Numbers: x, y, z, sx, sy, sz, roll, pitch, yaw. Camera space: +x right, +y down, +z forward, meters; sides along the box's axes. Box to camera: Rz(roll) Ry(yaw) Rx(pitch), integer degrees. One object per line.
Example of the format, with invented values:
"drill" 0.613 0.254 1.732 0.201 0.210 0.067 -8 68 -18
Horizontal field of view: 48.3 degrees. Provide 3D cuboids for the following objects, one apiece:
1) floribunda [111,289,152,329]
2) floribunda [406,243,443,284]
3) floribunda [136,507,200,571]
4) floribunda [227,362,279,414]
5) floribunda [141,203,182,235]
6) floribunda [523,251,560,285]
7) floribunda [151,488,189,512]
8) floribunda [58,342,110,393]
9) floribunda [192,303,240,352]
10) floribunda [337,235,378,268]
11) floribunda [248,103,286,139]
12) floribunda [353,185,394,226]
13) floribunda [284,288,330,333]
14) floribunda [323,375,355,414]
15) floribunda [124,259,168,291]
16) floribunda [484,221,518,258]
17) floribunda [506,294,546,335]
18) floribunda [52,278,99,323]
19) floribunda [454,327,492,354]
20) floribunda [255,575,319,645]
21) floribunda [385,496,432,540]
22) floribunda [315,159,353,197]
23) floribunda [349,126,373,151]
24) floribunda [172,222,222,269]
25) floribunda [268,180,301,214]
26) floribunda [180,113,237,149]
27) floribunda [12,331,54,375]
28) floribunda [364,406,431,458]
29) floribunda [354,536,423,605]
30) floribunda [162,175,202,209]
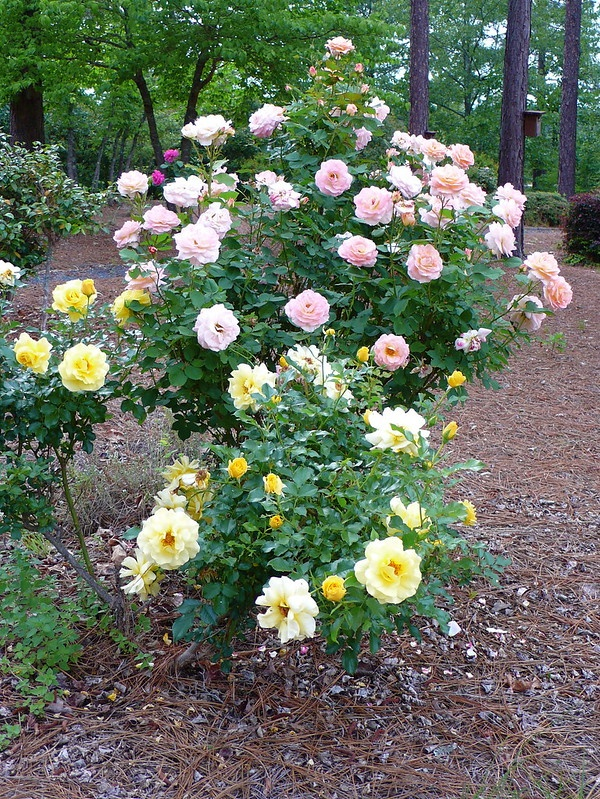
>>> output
"floribunda" -0.559 -0.298 2.169 0.191 0.118 0.077 11 17 43
"floribunda" 0.401 -0.436 2.137 0.130 0.114 0.057 -6 -10 6
"floribunda" -0.337 0.364 1.708 0.154 0.185 0.117 -3 13 -9
"floribunda" -0.114 -0.030 1.787 0.135 0.130 0.159 -4 13 -14
"floribunda" -0.413 -0.551 2.001 0.096 0.094 0.045 -42 -8 -17
"floribunda" 0.818 -0.453 2.286 0.111 0.102 0.213 3 12 17
"floribunda" -0.381 0.299 1.997 0.087 0.083 0.044 33 2 34
"floribunda" -0.595 -0.088 1.859 0.140 0.127 0.069 1 -4 -29
"floribunda" -0.231 -0.198 1.897 0.118 0.143 0.175 0 12 2
"floribunda" 0.185 -0.483 2.167 0.114 0.096 0.145 1 12 7
"floribunda" -0.123 -1.097 2.610 0.140 0.132 0.238 -1 12 -1
"floribunda" 0.243 -0.639 2.198 0.124 0.124 0.223 1 12 8
"floribunda" 0.015 -0.269 2.039 0.122 0.128 0.119 -3 13 -9
"floribunda" 0.105 -0.020 1.876 0.078 0.101 0.128 0 12 3
"floribunda" -0.467 -0.384 2.081 0.110 0.095 0.053 -5 -27 18
"floribunda" 0.698 -0.557 2.319 0.133 0.116 0.081 -13 5 -25
"floribunda" 0.854 -0.329 2.544 0.134 0.143 0.255 3 12 17
"floribunda" -0.729 -0.320 2.161 0.156 0.140 0.076 15 2 -1
"floribunda" 0.586 -0.227 2.354 0.106 0.108 0.051 18 31 -51
"floribunda" -0.025 0.462 1.434 0.124 0.204 0.162 -1 13 -1
"floribunda" 0.263 0.278 1.602 0.103 0.043 0.097 -9 5 -11
"floribunda" 0.115 -0.754 2.281 0.133 0.117 0.059 6 5 1
"floribunda" 0.244 -1.062 2.687 0.070 0.085 0.086 34 -13 42
"floribunda" -0.309 -0.462 1.978 0.135 0.116 0.077 0 -11 -8
"floribunda" -0.055 -0.680 2.210 0.099 0.082 0.086 -1 12 -2
"floribunda" -0.311 -0.931 2.357 0.166 0.090 0.156 -15 21 -27
"floribunda" -0.782 -0.137 1.951 0.128 0.109 0.058 3 -9 -17
"floribunda" 0.232 0.078 1.616 0.144 0.117 0.201 1 12 6
"floribunda" 0.182 0.343 1.326 0.105 0.125 0.057 -1 13 -1
"floribunda" -0.376 -0.681 2.165 0.121 0.102 0.168 -1 12 0
